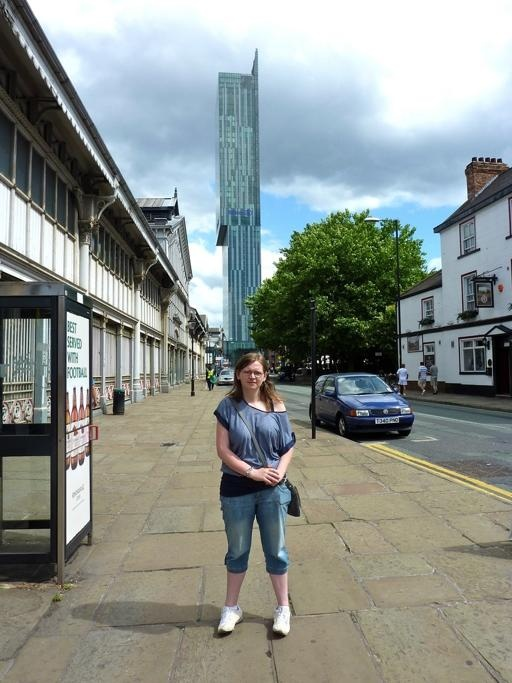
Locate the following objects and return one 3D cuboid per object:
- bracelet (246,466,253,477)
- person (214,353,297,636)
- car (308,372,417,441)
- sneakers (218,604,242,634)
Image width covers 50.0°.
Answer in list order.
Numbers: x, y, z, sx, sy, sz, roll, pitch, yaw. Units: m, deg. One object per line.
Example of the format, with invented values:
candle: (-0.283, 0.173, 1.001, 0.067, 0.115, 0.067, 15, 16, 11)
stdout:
bracelet: (-0.033, 0.692, 2.902, 0.030, 0.049, 0.047, -6, -4, 44)
person: (-0.013, 0.829, 3.071, 0.489, 1.532, 0.383, -3, -3, -4)
car: (2.155, 1.419, 12.258, 1.189, 0.999, 2.590, 0, -6, -11)
sneakers: (-0.159, 1.527, 3.027, 0.064, 0.084, 0.197, 1, -4, 8)
